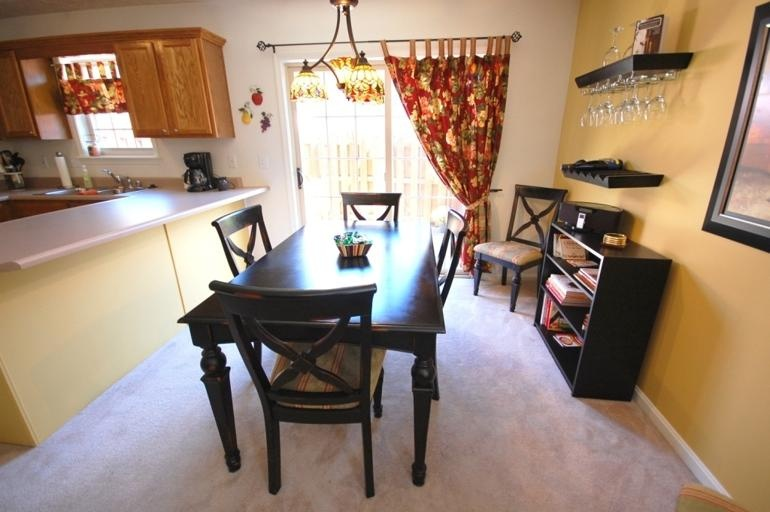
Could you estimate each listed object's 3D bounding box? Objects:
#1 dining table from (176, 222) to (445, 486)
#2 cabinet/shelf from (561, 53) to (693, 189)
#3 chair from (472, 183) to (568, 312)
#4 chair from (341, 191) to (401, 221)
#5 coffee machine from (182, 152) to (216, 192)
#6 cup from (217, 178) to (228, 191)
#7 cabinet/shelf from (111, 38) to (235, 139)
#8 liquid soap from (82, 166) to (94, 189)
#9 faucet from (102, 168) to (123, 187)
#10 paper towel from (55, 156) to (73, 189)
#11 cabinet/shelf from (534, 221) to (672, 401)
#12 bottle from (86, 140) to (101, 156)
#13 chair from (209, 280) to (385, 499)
[{"bbox_3d":[-0.374,1.065,4.053,1.493,1.205,2.441,-2,27,1],"label":"dining table"},{"bbox_3d":[1.875,-1.021,3.905,0.472,0.862,1.157,-4,22,5],"label":"cabinet/shelf"},{"bbox_3d":[1.275,-0.092,4.954,0.606,1.065,0.707,16,18,35],"label":"chair"},{"bbox_3d":[-0.122,-0.443,4.700,0.515,0.266,0.507,-1,19,-1],"label":"chair"},{"bbox_3d":[-1.926,-0.857,5.250,0.256,0.370,0.311,3,15,19],"label":"coffee machine"},{"bbox_3d":[-1.669,-0.728,5.258,0.104,0.107,0.078,9,33,5],"label":"cup"},{"bbox_3d":[-2.076,-1.690,5.104,1.061,0.963,0.435,5,23,19],"label":"cabinet/shelf"},{"bbox_3d":[-3.182,-0.854,5.488,0.088,0.244,0.162,-14,24,-33],"label":"liquid soap"},{"bbox_3d":[-2.871,-0.824,5.431,0.141,0.183,0.241,-15,24,-35],"label":"faucet"},{"bbox_3d":[-3.376,-0.896,5.407,0.115,0.351,0.268,-13,23,-30],"label":"paper towel"},{"bbox_3d":[1.663,0.389,4.236,0.427,1.102,1.133,3,18,-3],"label":"cabinet/shelf"},{"bbox_3d":[-3.106,-1.141,5.465,0.136,0.144,0.068,4,20,12],"label":"bottle"},{"bbox_3d":[-0.457,0.772,3.573,0.956,1.605,1.171,3,20,11],"label":"chair"}]
